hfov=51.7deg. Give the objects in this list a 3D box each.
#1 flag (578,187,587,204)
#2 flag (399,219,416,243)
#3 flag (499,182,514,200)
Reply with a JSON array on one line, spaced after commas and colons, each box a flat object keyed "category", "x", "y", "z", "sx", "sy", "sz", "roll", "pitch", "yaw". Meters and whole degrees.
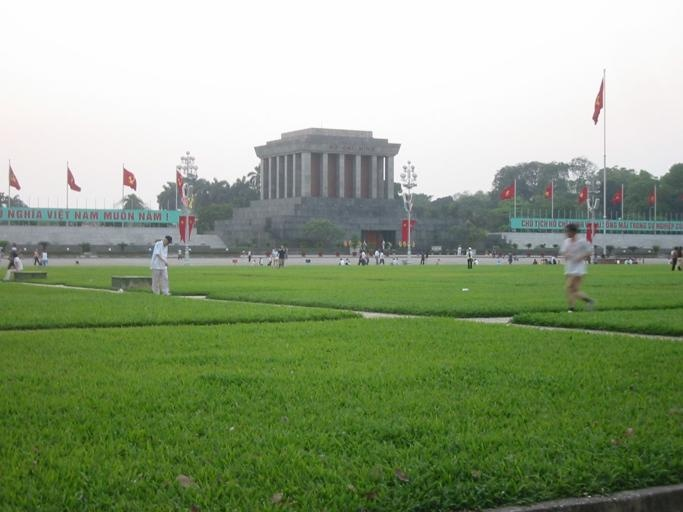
[{"category": "flag", "x": 33.415, "y": -8.456, "z": 97.303, "sx": 0.884, "sy": 2.300, "sz": 11.185, "roll": 3, "pitch": 8, "yaw": 18}, {"category": "flag", "x": 8.859, "y": -3.373, "z": 93.611, "sx": 0.195, "sy": 4.227, "sz": 3.657, "roll": -7, "pitch": 10, "yaw": -38}, {"category": "flag", "x": 20.488, "y": -7.965, "z": 86.330, "sx": 1.251, "sy": 1.733, "sz": 2.877, "roll": 3, "pitch": 8, "yaw": 22}]
